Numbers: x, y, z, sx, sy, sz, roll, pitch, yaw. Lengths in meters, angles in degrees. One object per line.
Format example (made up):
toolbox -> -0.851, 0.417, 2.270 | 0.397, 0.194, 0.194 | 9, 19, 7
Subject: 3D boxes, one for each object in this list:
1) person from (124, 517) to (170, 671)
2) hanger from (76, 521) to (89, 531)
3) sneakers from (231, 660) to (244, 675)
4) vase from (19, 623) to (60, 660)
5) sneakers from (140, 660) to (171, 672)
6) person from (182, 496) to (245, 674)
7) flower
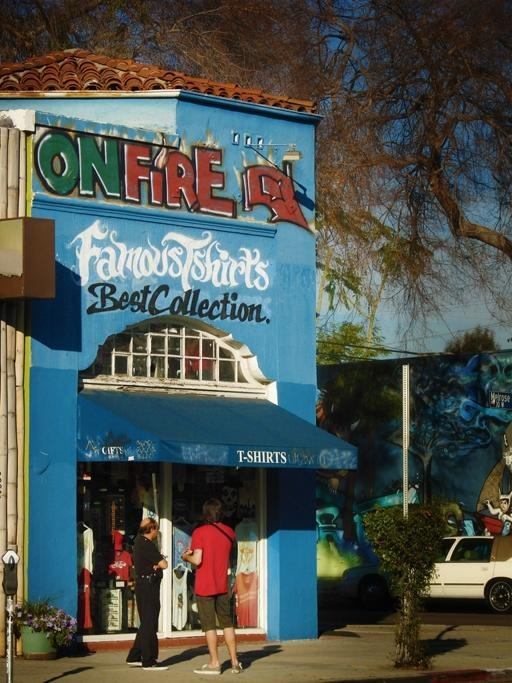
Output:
person -> -1.215, 2.777, 15.489 | 0.417, 1.633, 0.573 | 0, -8, -12
hanger -> -2.115, 2.243, 17.048 | 0.130, 0.207, 0.097 | 6, -11, -41
sneakers -> -0.216, 3.549, 15.359 | 0.065, 0.089, 0.198 | 1, -1, 12
vase -> -2.473, 3.391, 15.954 | 0.343, 0.385, 0.354 | -3, -7, 15
sneakers -> -1.109, 3.553, 15.419 | 0.291, 0.135, 0.114 | -1, -3, -4
person -> -0.500, 2.672, 15.400 | 0.652, 1.888, 0.417 | 4, -9, -38
flower -> -2.439, 3.301, 16.156 | 0.711, 0.538, 0.765 | 17, -18, -39
